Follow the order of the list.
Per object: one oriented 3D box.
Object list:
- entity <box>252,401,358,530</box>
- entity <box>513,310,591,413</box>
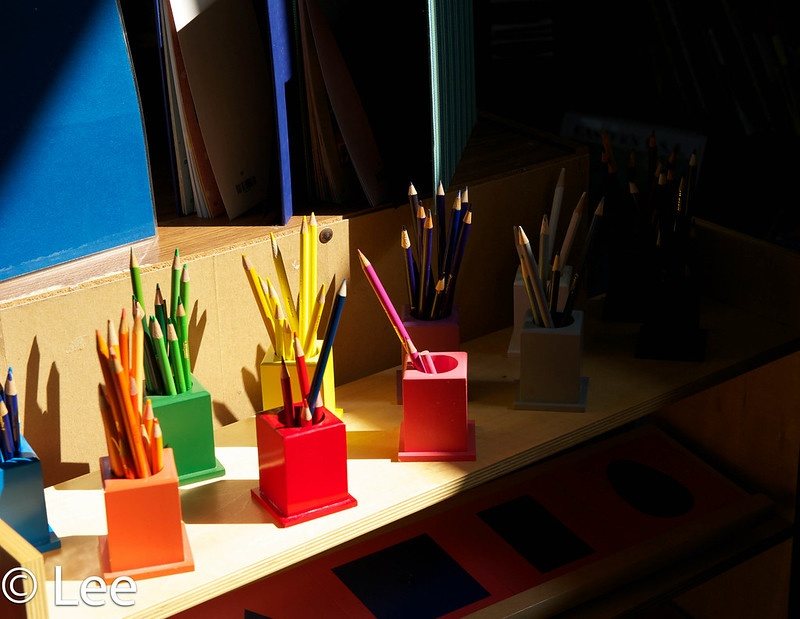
[{"bbox_3d":[-0.141,0.217,1.097,0.147,0.170,0.148,-12,28,-22],"label":"entity"},{"bbox_3d":[0.268,0.103,1.226,0.124,0.177,0.144,0,20,6],"label":"entity"}]
